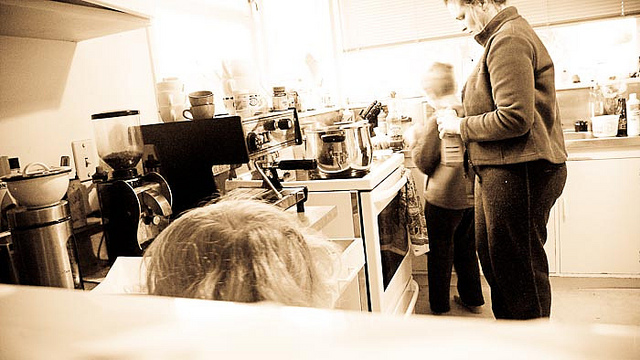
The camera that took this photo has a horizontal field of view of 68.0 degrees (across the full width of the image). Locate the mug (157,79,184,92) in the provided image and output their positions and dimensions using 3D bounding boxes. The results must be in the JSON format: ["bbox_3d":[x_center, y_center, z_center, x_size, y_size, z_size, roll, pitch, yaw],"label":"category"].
[{"bbox_3d":[-0.764,-0.479,2.412,0.095,0.052,0.078,3,13,24],"label":"mug"}]

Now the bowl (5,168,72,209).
[{"bbox_3d":[-0.974,0.025,1.661,0.175,0.076,0.157,-6,9,-1],"label":"bowl"}]

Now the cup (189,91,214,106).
[{"bbox_3d":[-0.570,-0.391,2.261,0.097,0.059,0.086,-3,21,-10],"label":"cup"}]

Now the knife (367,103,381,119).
[{"bbox_3d":[0.457,-0.575,3.977,0.048,0.114,0.165,4,11,36],"label":"knife"}]

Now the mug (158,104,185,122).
[{"bbox_3d":[-0.745,-0.334,2.363,0.106,0.059,0.087,-3,10,6],"label":"mug"}]

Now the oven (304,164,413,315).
[{"bbox_3d":[0.335,0.345,2.741,0.734,0.785,0.829,-3,9,24],"label":"oven"}]

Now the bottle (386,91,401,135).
[{"bbox_3d":[0.599,-0.554,3.870,0.124,0.330,0.320,-2,10,9],"label":"bottle"}]

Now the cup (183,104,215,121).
[{"bbox_3d":[-0.591,-0.325,2.288,0.150,0.074,0.102,-2,10,5],"label":"cup"}]

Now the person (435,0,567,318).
[{"bbox_3d":[0.923,-0.057,2.381,0.558,1.690,0.334,1,11,24],"label":"person"}]
